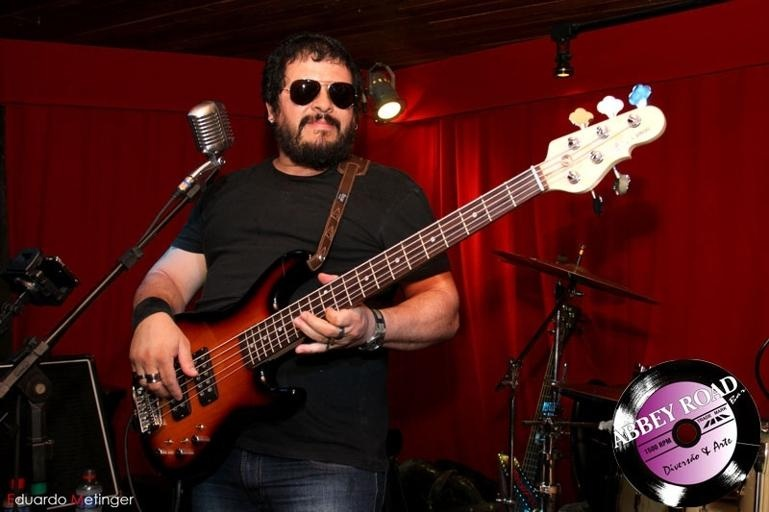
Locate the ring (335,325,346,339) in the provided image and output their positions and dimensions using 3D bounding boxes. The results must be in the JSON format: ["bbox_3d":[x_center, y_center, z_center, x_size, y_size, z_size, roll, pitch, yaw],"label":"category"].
[{"bbox_3d":[-0.162,0.290,2.552,0.024,0.049,0.007,3,10,-6],"label":"ring"}]

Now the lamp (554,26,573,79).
[{"bbox_3d":[1.197,-1.371,4.497,0.132,0.324,0.228,1,3,16],"label":"lamp"}]

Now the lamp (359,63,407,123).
[{"bbox_3d":[-0.020,-1.113,4.607,0.242,0.471,0.285,-3,-33,-17],"label":"lamp"}]

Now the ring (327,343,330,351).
[{"bbox_3d":[-0.221,0.356,2.622,0.011,0.023,0.003,0,-3,-31],"label":"ring"}]

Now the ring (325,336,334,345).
[{"bbox_3d":[-0.214,0.323,2.581,0.035,0.018,0.070,0,-4,2],"label":"ring"}]

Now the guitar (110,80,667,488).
[{"bbox_3d":[-0.257,0.504,3.193,3.517,1.038,0.397,-33,-30,15],"label":"guitar"}]

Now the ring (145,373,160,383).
[{"bbox_3d":[-0.983,0.519,2.829,0.042,0.032,0.043,1,-3,0],"label":"ring"}]
